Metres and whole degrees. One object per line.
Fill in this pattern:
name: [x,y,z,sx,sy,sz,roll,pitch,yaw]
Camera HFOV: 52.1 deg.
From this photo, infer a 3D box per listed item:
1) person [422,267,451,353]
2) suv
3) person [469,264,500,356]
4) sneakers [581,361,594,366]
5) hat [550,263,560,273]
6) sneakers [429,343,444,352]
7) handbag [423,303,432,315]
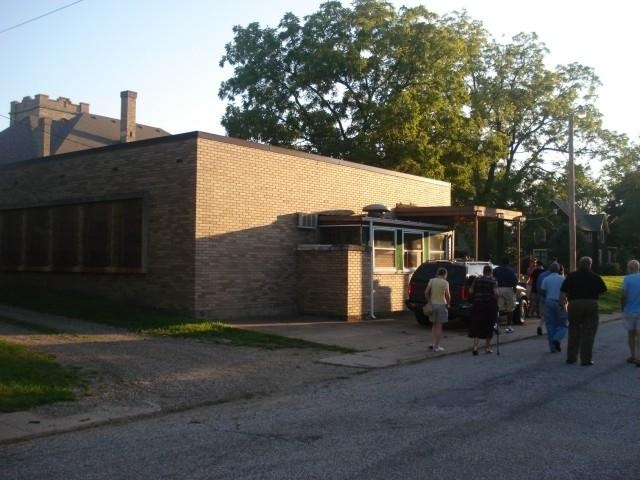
person: [2.977,1.708,16.344,0.563,2.025,1.246,2,3,11]
suv: [4.876,1.593,21.093,1.931,1.618,4.022,-1,0,43]
person: [4.049,1.701,15.930,0.644,2.073,0.908,2,3,15]
sneakers: [5.811,2.622,14.007,0.343,0.082,0.143,0,2,-24]
hat: [6.100,0.693,16.743,0.228,0.283,0.293,-1,-2,4]
sneakers: [2.938,2.623,16.065,0.186,0.122,0.333,0,0,44]
handbag: [2.707,1.714,16.136,0.214,0.288,0.500,2,2,10]
